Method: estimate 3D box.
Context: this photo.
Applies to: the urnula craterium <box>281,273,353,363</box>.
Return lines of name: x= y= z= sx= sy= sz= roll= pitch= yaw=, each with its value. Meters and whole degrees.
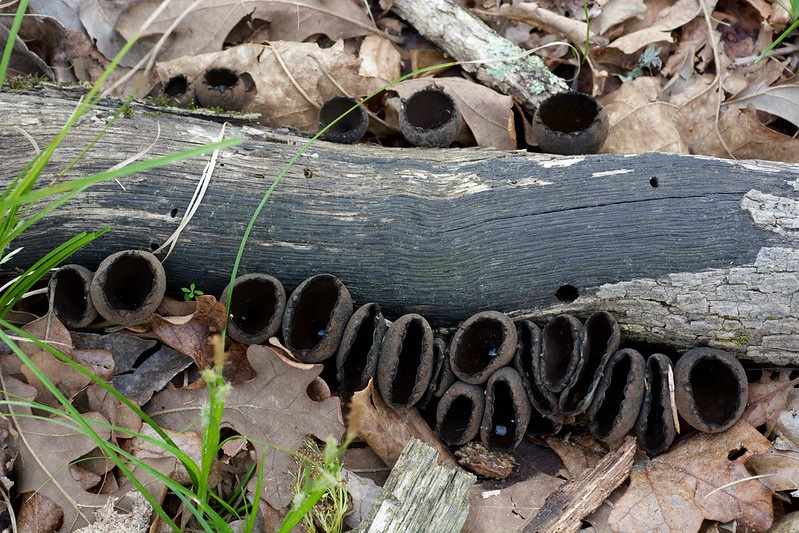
urnula craterium: x=-0.466 y=0.345 z=4.447 sx=0.395 sy=0.554 sz=0.323 roll=26 pitch=-4 yaw=15

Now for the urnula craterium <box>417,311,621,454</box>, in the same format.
urnula craterium: x=0.781 y=0.762 z=4.785 sx=1.157 sy=0.807 sz=0.399 roll=-5 pitch=-8 yaw=7

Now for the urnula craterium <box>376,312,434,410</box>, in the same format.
urnula craterium: x=0.034 y=0.583 z=4.320 sx=0.336 sy=0.534 sz=0.314 roll=8 pitch=29 yaw=2

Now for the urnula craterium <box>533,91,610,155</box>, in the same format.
urnula craterium: x=1.101 y=-0.913 z=4.688 sx=0.445 sy=0.323 sz=0.449 roll=-4 pitch=52 yaw=10

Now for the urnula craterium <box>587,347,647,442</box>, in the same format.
urnula craterium: x=1.278 y=0.757 z=4.227 sx=0.307 sy=0.578 sz=0.199 roll=18 pitch=7 yaw=36

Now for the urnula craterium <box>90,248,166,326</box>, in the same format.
urnula craterium: x=-1.605 y=0.117 z=4.406 sx=0.401 sy=0.468 sz=0.445 roll=-2 pitch=-1 yaw=-8

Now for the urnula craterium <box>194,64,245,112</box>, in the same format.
urnula craterium: x=-1.238 y=-1.212 z=5.177 sx=0.361 sy=0.341 sz=0.322 roll=-6 pitch=-11 yaw=-5

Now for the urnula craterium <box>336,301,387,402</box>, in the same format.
urnula craterium: x=-0.237 y=0.500 z=4.350 sx=0.301 sy=0.203 sz=0.609 roll=17 pitch=43 yaw=-1

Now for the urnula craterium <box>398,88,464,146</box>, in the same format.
urnula craterium: x=0.216 y=-0.956 z=4.893 sx=0.406 sy=0.291 sz=0.391 roll=-3 pitch=68 yaw=5

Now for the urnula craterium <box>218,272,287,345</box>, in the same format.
urnula craterium: x=-0.875 y=0.264 z=4.389 sx=0.364 sy=0.441 sz=0.261 roll=21 pitch=-17 yaw=-3
